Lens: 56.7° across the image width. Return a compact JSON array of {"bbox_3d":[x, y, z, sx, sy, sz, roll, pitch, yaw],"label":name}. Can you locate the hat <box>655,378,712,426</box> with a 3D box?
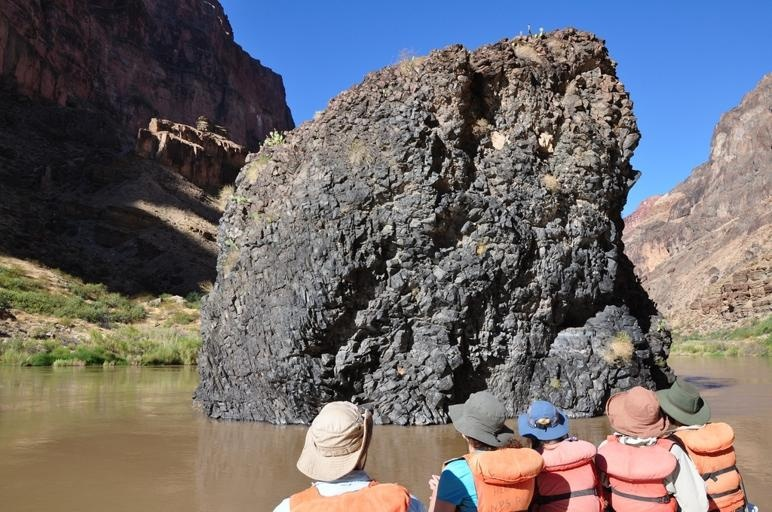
[{"bbox_3d":[6.691,3.386,16.305,0.998,1.091,0.431,-17,-45,-30],"label":"hat"}]

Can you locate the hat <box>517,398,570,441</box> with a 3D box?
[{"bbox_3d":[3.588,3.590,16.361,1.103,0.548,1.323,-7,15,2],"label":"hat"}]

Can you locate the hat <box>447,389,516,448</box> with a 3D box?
[{"bbox_3d":[2.162,3.568,15.883,1.132,1.281,0.679,19,-57,-14],"label":"hat"}]
